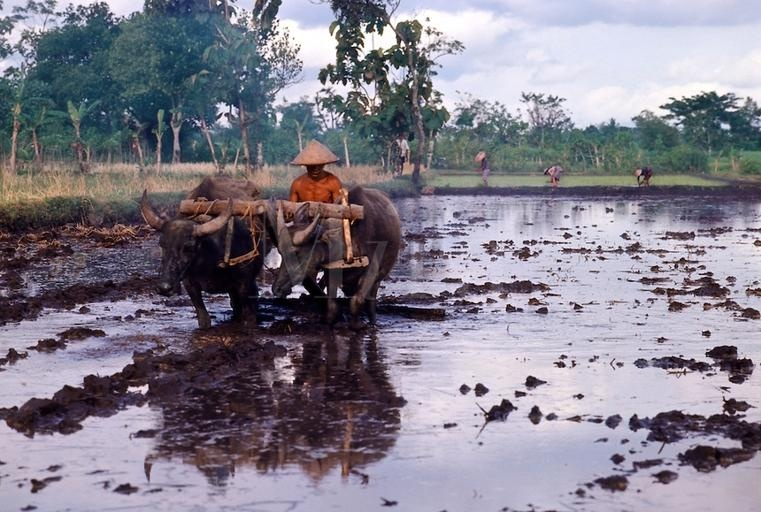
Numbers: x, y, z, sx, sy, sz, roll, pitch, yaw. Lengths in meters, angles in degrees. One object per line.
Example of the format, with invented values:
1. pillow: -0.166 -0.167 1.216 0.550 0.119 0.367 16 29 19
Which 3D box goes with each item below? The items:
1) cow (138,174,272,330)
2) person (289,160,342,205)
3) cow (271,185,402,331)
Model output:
1. cow: -2.648 -0.081 17.030 1.596 2.346 2.297 4 11 17
2. person: -1.097 -1.146 17.449 0.900 1.197 0.702 -1 14 -1
3. cow: -0.622 0.004 16.890 1.091 2.194 2.778 7 12 28
